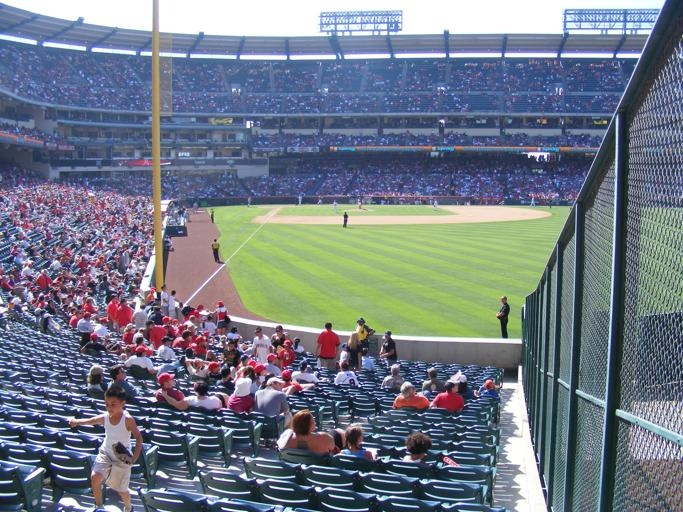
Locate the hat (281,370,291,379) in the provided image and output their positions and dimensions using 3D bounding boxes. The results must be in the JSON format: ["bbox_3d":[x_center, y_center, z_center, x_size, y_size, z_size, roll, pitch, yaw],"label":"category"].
[{"bbox_3d":[-0.945,2.018,12.531,0.140,0.116,0.233,5,7,4],"label":"hat"}]

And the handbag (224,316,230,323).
[{"bbox_3d":[-3.098,1.717,19.986,0.129,0.242,0.184,-2,2,43],"label":"handbag"}]

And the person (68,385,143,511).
[{"bbox_3d":[-2.494,2.062,7.967,0.699,1.312,1.002,10,-12,-23],"label":"person"}]

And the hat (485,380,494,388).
[{"bbox_3d":[2.479,2.130,12.276,0.127,0.156,0.148,1,-7,-34],"label":"hat"}]

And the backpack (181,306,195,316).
[{"bbox_3d":[-4.489,1.600,21.467,0.329,0.330,0.429,-1,3,-6],"label":"backpack"}]

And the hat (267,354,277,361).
[{"bbox_3d":[-1.249,1.812,13.124,0.133,0.113,0.205,-3,23,10],"label":"hat"}]

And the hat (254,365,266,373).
[{"bbox_3d":[-1.378,1.915,12.578,0.146,0.117,0.241,18,-13,12],"label":"hat"}]

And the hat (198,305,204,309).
[{"bbox_3d":[-4.170,1.497,21.762,0.297,0.082,0.300,1,7,-9],"label":"hat"}]

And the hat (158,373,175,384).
[{"bbox_3d":[-2.422,1.739,10.289,0.244,0.135,0.177,-11,21,-23],"label":"hat"}]
